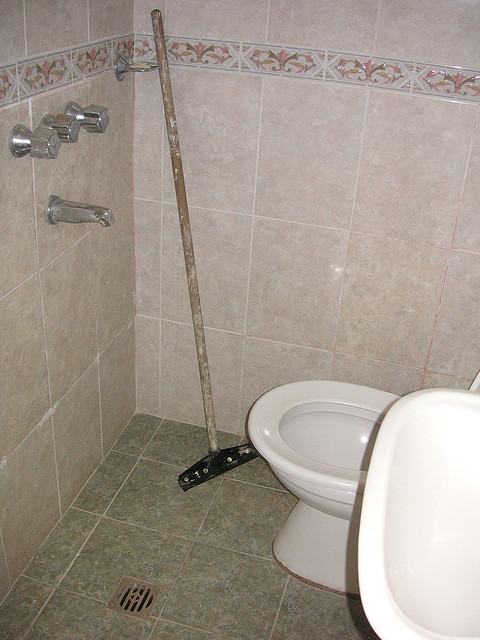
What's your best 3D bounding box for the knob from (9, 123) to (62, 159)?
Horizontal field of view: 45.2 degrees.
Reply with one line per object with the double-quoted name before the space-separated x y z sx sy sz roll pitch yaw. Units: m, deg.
"knob" -0.353 -0.313 1.007 0.077 0.058 0.102 3 26 -7
